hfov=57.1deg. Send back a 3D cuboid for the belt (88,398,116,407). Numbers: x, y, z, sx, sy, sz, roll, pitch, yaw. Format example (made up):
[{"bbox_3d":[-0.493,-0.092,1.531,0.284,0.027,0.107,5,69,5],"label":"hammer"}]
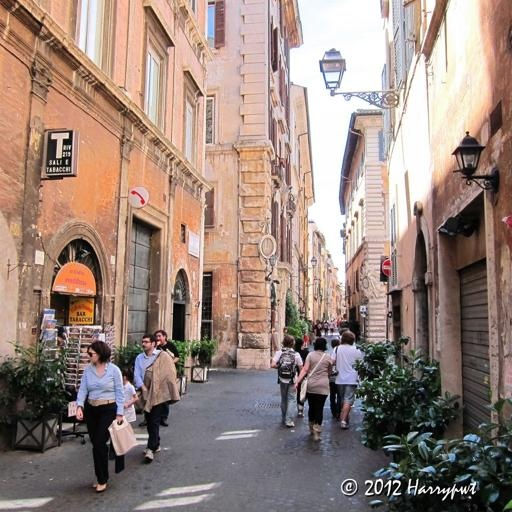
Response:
[{"bbox_3d":[-1.746,1.654,5.293,0.288,0.071,0.079,1,-12,-10],"label":"belt"}]

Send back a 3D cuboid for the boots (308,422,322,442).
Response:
[{"bbox_3d":[0.990,2.936,7.885,0.115,0.285,0.356,1,-7,4],"label":"boots"}]

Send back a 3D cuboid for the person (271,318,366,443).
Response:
[{"bbox_3d":[1.400,2.289,8.722,0.963,1.873,2.150,-5,-13,23],"label":"person"}]

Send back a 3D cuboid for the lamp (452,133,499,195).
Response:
[{"bbox_3d":[2.093,-0.922,4.460,0.322,0.651,0.220,2,24,29],"label":"lamp"}]

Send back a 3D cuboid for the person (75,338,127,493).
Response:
[{"bbox_3d":[-1.747,1.762,5.296,0.504,1.597,0.410,4,-11,-24],"label":"person"}]

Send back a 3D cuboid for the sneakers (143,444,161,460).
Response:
[{"bbox_3d":[-1.428,2.716,6.451,0.093,0.162,0.339,-4,-24,4],"label":"sneakers"}]

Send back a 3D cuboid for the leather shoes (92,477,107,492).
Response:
[{"bbox_3d":[-1.689,2.484,5.112,0.069,0.071,0.206,2,-13,-11],"label":"leather shoes"}]

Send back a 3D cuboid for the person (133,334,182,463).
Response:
[{"bbox_3d":[-1.450,2.003,6.893,0.620,1.739,1.035,3,-12,-20],"label":"person"}]
